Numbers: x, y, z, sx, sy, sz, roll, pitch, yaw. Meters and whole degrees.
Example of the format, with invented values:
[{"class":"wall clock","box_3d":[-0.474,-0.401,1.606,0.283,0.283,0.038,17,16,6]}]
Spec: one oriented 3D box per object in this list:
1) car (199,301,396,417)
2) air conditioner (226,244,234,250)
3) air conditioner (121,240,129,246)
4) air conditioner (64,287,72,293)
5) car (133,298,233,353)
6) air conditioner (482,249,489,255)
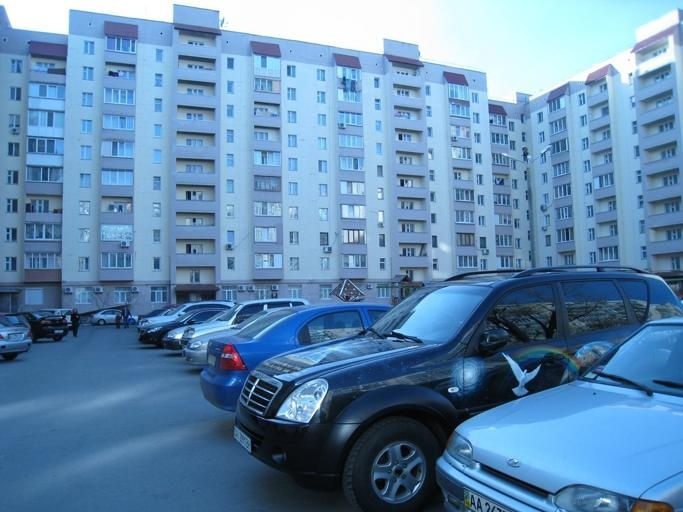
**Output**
[{"class":"car","box_3d":[-0.969,1.358,8.030,3.390,0.883,1.396,-4,-2,-28]},{"class":"air conditioner","box_3d":[-9.261,-0.769,44.810,0.864,0.465,0.439,0,0,-32]},{"class":"air conditioner","box_3d":[-17.141,-0.991,42.584,0.555,0.397,0.492,1,-5,-10]},{"class":"air conditioner","box_3d":[-21.328,2.604,41.912,0.587,0.425,0.136,4,-8,-21]},{"class":"car","box_3d":[-4.855,2.426,19.082,4.650,1.202,1.901,-2,-3,-13]},{"class":"air conditioner","box_3d":[14.519,-0.455,54.518,1.012,0.533,0.480,1,10,3]}]
